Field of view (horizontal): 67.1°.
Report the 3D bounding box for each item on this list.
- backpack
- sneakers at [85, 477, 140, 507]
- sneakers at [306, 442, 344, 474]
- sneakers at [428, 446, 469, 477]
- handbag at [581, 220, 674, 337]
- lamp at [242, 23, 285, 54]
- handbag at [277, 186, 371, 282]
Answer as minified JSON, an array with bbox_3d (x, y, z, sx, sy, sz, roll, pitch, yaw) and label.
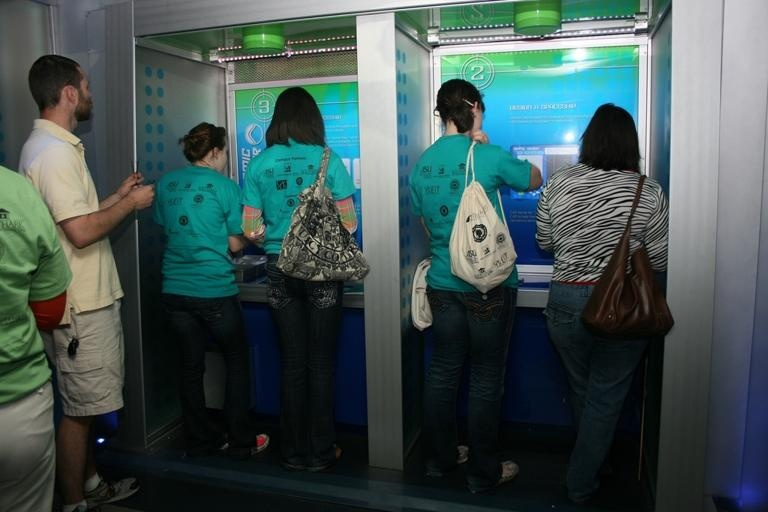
[{"bbox_3d":[0.532,-0.095,3.175,0.412,0.578,0.311,-18,11,6],"label":"backpack"},{"bbox_3d":[-1.571,1.373,3.410,0.304,0.134,0.111,-8,16,-24],"label":"sneakers"},{"bbox_3d":[-0.362,1.255,3.652,0.088,0.119,0.278,3,6,22],"label":"sneakers"},{"bbox_3d":[0.401,1.288,3.614,0.177,0.099,0.252,-17,-4,0],"label":"sneakers"},{"bbox_3d":[1.266,0.108,2.975,0.506,0.735,0.337,5,-4,3],"label":"handbag"},{"bbox_3d":[-0.797,-1.461,3.899,0.174,0.134,0.180,-1,7,-4],"label":"lamp"},{"bbox_3d":[-0.365,-0.127,3.395,0.520,0.551,0.193,1,-6,-9],"label":"handbag"}]
